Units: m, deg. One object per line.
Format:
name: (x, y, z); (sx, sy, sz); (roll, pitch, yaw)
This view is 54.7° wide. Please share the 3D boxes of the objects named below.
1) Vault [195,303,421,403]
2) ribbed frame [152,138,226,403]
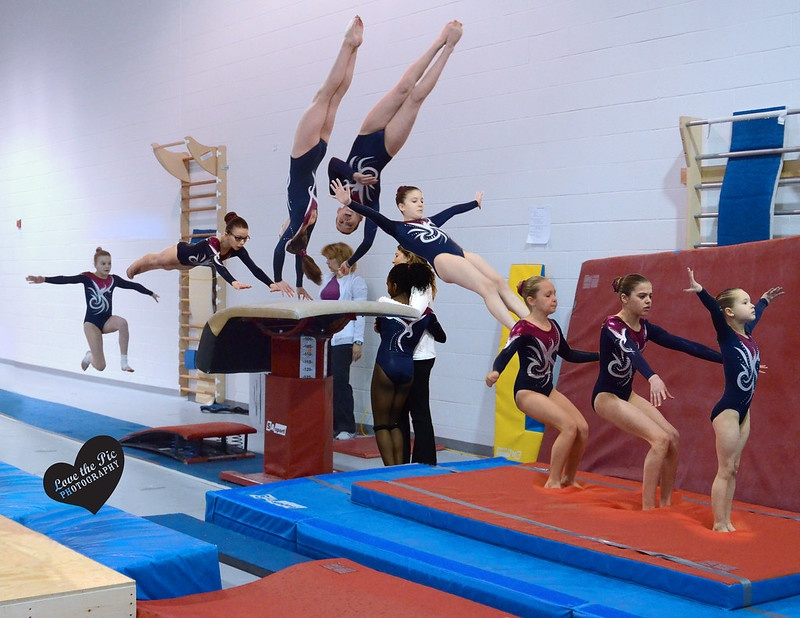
Vault: (-0.789, 0.181, 5.117); (0.841, 0.351, 0.807); (2, 1, 42)
ribbed frame: (-2.378, -0.488, 9.154); (0.293, 3.180, 0.954); (-9, 13, -44)
